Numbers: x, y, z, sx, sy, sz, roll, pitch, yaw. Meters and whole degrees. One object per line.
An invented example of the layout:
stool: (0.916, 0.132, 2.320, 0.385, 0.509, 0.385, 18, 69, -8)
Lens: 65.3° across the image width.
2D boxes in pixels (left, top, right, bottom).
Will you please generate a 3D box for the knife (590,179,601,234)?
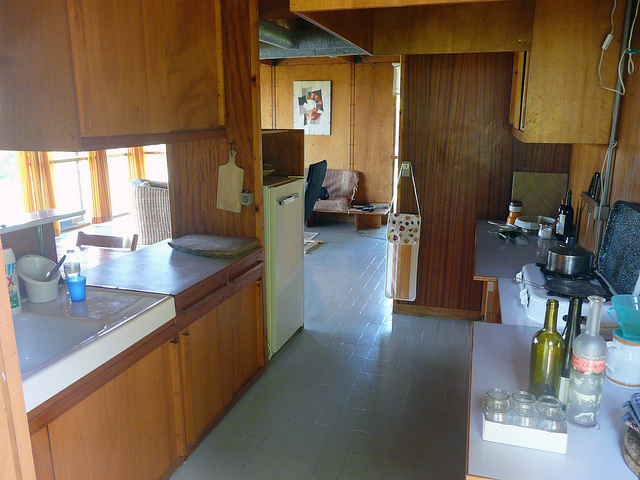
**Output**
knife: (1.706, -0.228, 3.099, 0.046, 0.488, 0.050, 5, -19, 13)

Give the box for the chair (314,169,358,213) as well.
chair: (0.269, -0.820, 8.137, 0.675, 0.507, 0.713, 6, 12, 22)

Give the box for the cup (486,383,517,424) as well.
cup: (0.595, 0.557, 1.675, 0.097, 0.077, 0.083, 0, 12, -2)

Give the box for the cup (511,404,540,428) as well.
cup: (0.671, 0.577, 1.644, 0.063, 0.071, 0.067, 0, 2, 0)

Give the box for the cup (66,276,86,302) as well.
cup: (-1.179, 0.231, 2.452, 0.102, 0.120, 0.101, 1, 9, 0)

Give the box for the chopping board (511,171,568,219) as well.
chopping board: (1.770, -0.369, 4.066, 0.411, 0.363, 0.070, 3, 12, 11)

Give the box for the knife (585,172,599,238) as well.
knife: (1.704, -0.201, 3.150, 0.045, 0.446, 0.055, 14, 24, 28)

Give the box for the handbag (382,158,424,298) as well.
handbag: (0.724, -0.082, 4.266, 0.307, 1.207, 0.331, 3, 12, 11)

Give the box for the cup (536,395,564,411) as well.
cup: (0.766, 0.536, 1.660, 0.054, 0.060, 0.057, -3, 7, 0)

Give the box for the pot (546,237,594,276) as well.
pot: (1.262, 0.075, 2.571, 0.195, 0.164, 0.193, 0, 6, 0)

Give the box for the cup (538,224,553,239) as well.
cup: (1.599, -0.051, 3.599, 0.110, 0.114, 0.073, -4, 8, -43)

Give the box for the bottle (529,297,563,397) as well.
bottle: (0.811, 0.383, 1.790, 0.099, 0.355, 0.057, 6, 13, 24)

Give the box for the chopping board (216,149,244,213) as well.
chopping board: (-0.591, -0.395, 3.314, 0.178, 0.403, 0.062, 4, 12, 17)

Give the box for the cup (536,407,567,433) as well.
cup: (0.749, 0.583, 1.617, 0.069, 0.076, 0.070, -2, 6, 0)

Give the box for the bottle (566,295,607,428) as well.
bottle: (0.900, 0.410, 1.688, 0.100, 0.448, 0.083, 7, 13, 29)
